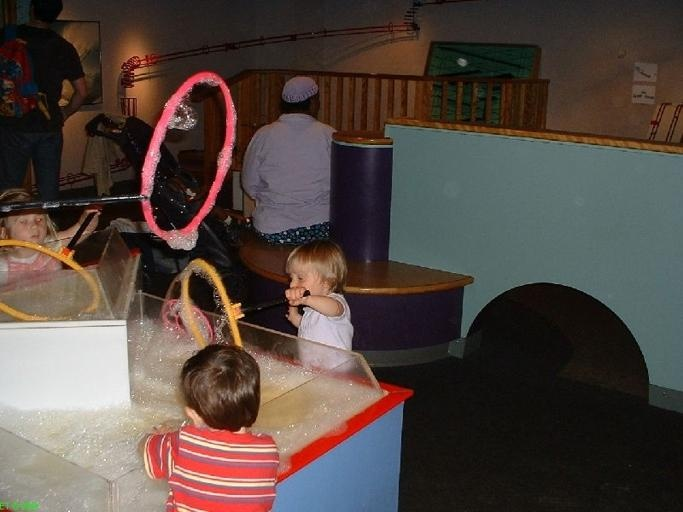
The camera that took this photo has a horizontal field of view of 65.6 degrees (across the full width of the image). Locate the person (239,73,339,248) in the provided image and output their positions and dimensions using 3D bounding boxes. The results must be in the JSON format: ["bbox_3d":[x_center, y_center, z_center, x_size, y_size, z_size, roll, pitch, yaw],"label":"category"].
[{"bbox_3d":[-0.419,-0.573,3.945,0.669,0.951,0.465,2,13,-4],"label":"person"}]
